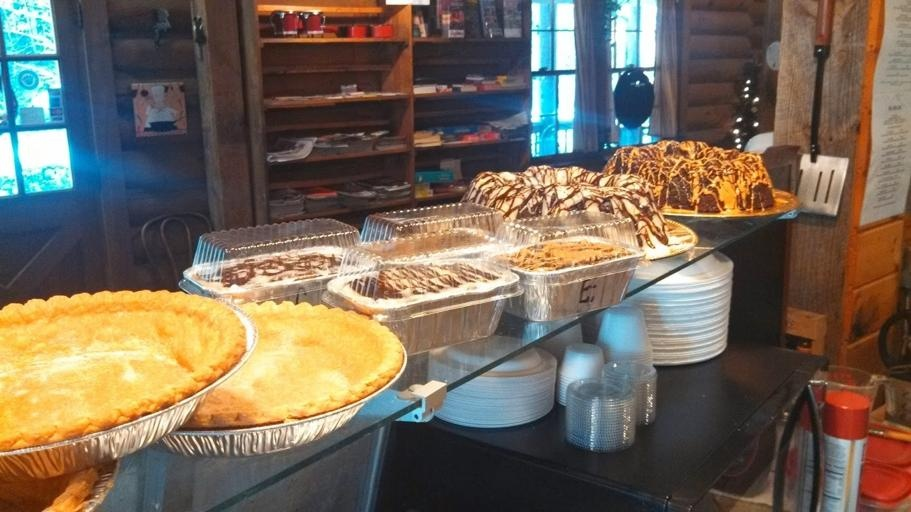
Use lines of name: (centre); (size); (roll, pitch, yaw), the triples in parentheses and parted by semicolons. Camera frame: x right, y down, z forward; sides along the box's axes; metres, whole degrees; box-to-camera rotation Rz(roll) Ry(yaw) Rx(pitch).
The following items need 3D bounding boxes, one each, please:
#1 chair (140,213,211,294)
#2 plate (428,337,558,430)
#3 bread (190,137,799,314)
chair: (-1.949, -0.091, 4.264); (0.482, 0.580, 0.210); (-13, 31, -34)
plate: (0.124, 0.355, 1.626); (0.364, 0.146, 0.327); (0, 7, -4)
bread: (0.722, -0.225, 2.193); (1.615, 0.185, 0.883); (-6, 8, -29)
